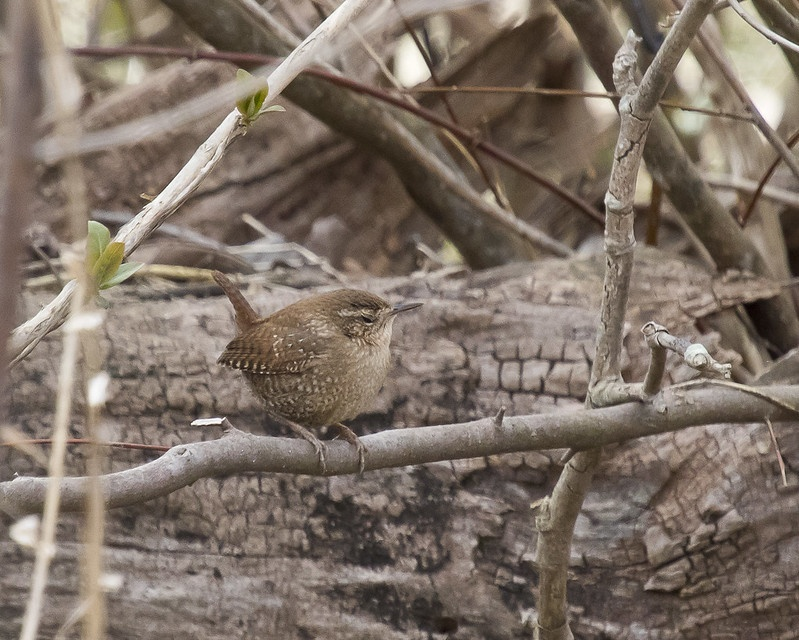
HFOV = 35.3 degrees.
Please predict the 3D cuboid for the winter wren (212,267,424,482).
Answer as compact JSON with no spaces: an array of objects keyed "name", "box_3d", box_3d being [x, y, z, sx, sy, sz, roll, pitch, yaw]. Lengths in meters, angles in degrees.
[{"name":"winter wren","box_3d":[-0.407,0.214,5.408,0.887,0.770,0.520,6,-3,31]}]
